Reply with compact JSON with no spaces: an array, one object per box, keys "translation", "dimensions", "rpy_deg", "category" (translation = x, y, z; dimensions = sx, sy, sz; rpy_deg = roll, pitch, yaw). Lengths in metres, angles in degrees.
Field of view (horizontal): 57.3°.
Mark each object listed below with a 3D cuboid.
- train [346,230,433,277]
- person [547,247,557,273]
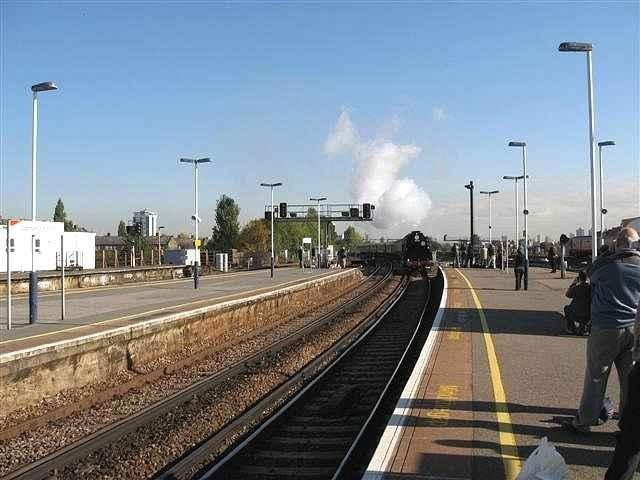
[{"translation":[7.472,1.391,59.758],"dimensions":[3.502,4.445,27.451],"rpy_deg":[0,-1,-2],"category":"train"},{"translation":[13.506,1.047,33.851],"dimensions":[0.422,1.636,2.056],"rpy_deg":[2,7,23],"category":"person"}]
